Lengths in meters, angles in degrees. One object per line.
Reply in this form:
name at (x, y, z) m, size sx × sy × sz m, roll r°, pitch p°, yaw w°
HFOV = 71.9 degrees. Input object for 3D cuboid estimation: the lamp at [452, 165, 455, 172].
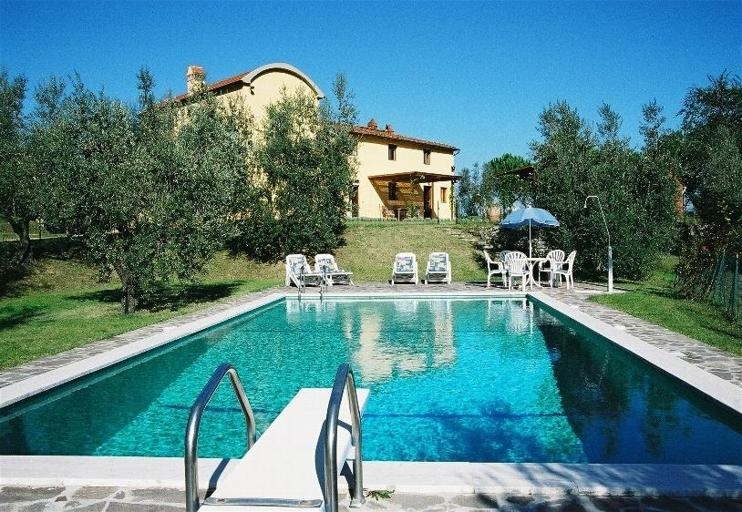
lamp at (7.276, -7.640, 45.040) m, size 0.390 × 0.605 × 0.584 m, roll -2°, pitch 4°, yaw 3°

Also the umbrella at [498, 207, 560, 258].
umbrella at (6.269, -1.373, 20.483) m, size 2.106 × 2.090 × 2.233 m, roll 0°, pitch 0°, yaw 5°

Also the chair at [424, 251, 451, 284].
chair at (2.815, 0.506, 21.366) m, size 0.942 × 1.197 × 1.073 m, roll 0°, pitch 5°, yaw 3°
